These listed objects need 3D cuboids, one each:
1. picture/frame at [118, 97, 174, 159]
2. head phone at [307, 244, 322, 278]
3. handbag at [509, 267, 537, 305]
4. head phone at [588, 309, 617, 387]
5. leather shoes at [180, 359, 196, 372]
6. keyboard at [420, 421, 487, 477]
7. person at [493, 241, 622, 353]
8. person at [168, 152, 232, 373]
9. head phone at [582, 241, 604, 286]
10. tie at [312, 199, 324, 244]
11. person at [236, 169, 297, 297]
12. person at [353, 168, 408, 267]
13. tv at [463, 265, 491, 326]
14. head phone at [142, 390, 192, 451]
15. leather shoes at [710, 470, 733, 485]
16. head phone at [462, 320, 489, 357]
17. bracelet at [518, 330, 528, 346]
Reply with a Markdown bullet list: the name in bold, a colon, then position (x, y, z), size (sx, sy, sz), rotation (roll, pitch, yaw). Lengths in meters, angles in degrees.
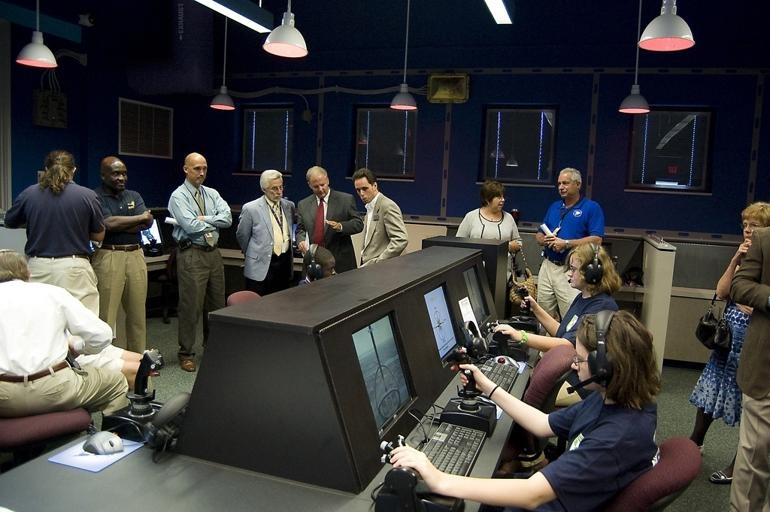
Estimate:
- **picture/frame**: position (-3.448, -1.813, 7.619), size (0.057, 0.780, 1.001), rotation (5, 8, 22)
- **head phone**: position (-0.482, 0.045, 3.586), size (0.084, 0.251, 0.217), rotation (0, -6, 0)
- **handbag**: position (1.191, 0.270, 4.557), size (0.289, 0.315, 0.162), rotation (-3, 8, -13)
- **head phone**: position (0.911, 0.395, 2.191), size (0.118, 0.360, 0.301), rotation (0, -2, 14)
- **leather shoes**: position (-1.904, 1.060, 5.109), size (0.088, 0.072, 0.177), rotation (-2, 4, -40)
- **keyboard**: position (0.303, 0.889, 2.388), size (0.208, 0.053, 0.415), rotation (11, 13, 22)
- **person**: position (1.226, 0.263, 3.842), size (0.846, 1.224, 0.680), rotation (4, 2, 20)
- **person**: position (-1.813, 0.060, 5.199), size (0.523, 2.082, 0.343), rotation (-6, 11, -42)
- **head phone**: position (1.391, 0.068, 3.486), size (0.119, 0.240, 0.188), rotation (7, 9, 35)
- **tie**: position (-0.666, -0.336, 5.329), size (0.114, 0.446, 0.193), rotation (0, 8, -7)
- **person**: position (-1.219, -0.231, 5.362), size (0.550, 1.225, 0.205), rotation (-1, 8, -18)
- **person**: position (-0.063, -0.353, 5.099), size (0.583, 0.942, 0.366), rotation (8, 10, 42)
- **tv**: position (0.682, 0.285, 3.873), size (0.085, 0.362, 0.387), rotation (-7, 11, 19)
- **head phone**: position (-0.977, 0.688, 2.305), size (0.194, 0.086, 0.190), rotation (2, 13, 6)
- **leather shoes**: position (2.397, 1.573, 3.739), size (0.132, 0.043, 0.072), rotation (-2, 3, 1)
- **head phone**: position (0.463, 0.450, 2.796), size (0.128, 0.187, 0.046), rotation (12, -40, -45)
- **bracelet**: position (0.906, 0.536, 3.426), size (0.046, 0.087, 0.060), rotation (9, 7, -28)
